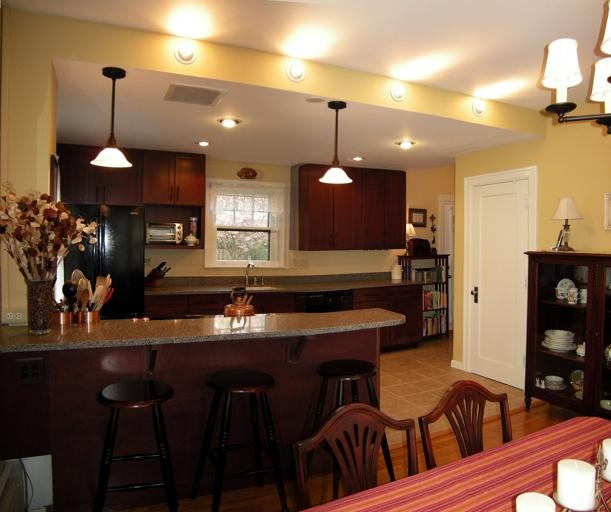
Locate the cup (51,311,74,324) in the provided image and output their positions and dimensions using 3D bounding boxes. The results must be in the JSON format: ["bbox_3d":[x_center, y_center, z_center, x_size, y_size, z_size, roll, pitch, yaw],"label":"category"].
[{"bbox_3d":[-1.454,0.360,2.947,0.080,0.049,0.081,2,5,0],"label":"cup"}]

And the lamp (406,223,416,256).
[{"bbox_3d":[1.510,-0.249,7.153,0.120,0.435,0.478,0,3,14],"label":"lamp"}]

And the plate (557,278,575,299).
[{"bbox_3d":[2.145,0.278,4.135,0.151,0.107,0.141,-6,10,-31],"label":"plate"}]

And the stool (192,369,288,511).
[{"bbox_3d":[-0.395,1.097,2.934,0.556,0.810,0.508,-1,3,-13],"label":"stool"}]

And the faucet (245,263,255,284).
[{"bbox_3d":[-0.678,0.224,6.088,0.128,0.263,0.184,-1,3,-2],"label":"faucet"}]

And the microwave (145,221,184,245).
[{"bbox_3d":[-1.543,-0.247,5.462,0.355,0.216,0.229,-1,0,-27],"label":"microwave"}]

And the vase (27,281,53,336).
[{"bbox_3d":[-1.470,0.286,2.766,0.128,0.295,0.095,-2,3,-27],"label":"vase"}]

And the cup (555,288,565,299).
[{"bbox_3d":[2.134,0.321,4.182,0.077,0.058,0.078,0,9,0],"label":"cup"}]

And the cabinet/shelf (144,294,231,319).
[{"bbox_3d":[-1.230,0.508,5.211,0.869,0.259,0.085,-2,3,-29],"label":"cabinet/shelf"}]

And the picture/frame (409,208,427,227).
[{"bbox_3d":[1.640,-0.568,7.371,0.314,0.270,0.031,-1,1,-30],"label":"picture/frame"}]

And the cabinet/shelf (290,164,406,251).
[{"bbox_3d":[0.460,-0.603,6.189,1.130,0.731,0.388,-1,1,-28],"label":"cabinet/shelf"}]

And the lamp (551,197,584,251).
[{"bbox_3d":[2.251,-0.274,4.297,0.206,0.457,0.378,1,3,29],"label":"lamp"}]

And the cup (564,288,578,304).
[{"bbox_3d":[2.179,0.332,4.067,0.123,0.118,0.072,-6,10,-41],"label":"cup"}]

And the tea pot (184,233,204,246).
[{"bbox_3d":[-1.272,-0.184,5.610,0.163,0.087,0.160,0,7,0],"label":"tea pot"}]

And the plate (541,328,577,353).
[{"bbox_3d":[2.141,0.728,4.227,0.178,0.086,0.177,0,6,10],"label":"plate"}]

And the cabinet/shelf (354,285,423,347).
[{"bbox_3d":[0.864,0.625,5.277,0.853,0.682,0.313,-1,1,-30],"label":"cabinet/shelf"}]

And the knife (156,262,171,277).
[{"bbox_3d":[-1.599,0.166,5.603,0.145,0.176,0.329,-1,3,-14],"label":"knife"}]

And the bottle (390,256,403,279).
[{"bbox_3d":[1.287,0.173,7.031,0.159,0.324,0.389,0,3,9],"label":"bottle"}]

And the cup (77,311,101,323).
[{"bbox_3d":[-1.327,0.371,3.019,0.083,0.048,0.080,1,2,0],"label":"cup"}]
